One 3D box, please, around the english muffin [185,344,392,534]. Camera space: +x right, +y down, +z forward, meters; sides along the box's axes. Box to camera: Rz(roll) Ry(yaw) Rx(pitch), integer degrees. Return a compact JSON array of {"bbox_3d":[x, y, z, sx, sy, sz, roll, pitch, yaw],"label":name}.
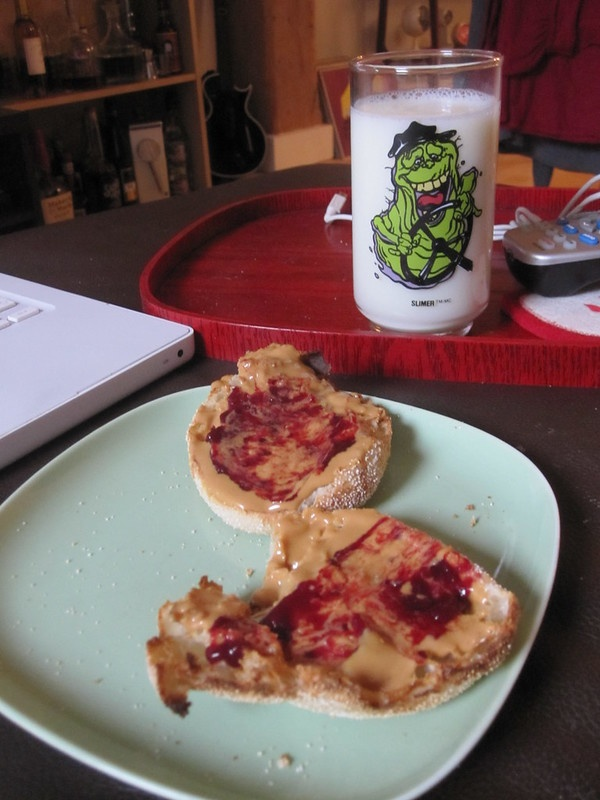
[{"bbox_3d":[-0.004,0.020,0.441,0.106,0.030,0.105,30,50,35],"label":"english muffin"}]
